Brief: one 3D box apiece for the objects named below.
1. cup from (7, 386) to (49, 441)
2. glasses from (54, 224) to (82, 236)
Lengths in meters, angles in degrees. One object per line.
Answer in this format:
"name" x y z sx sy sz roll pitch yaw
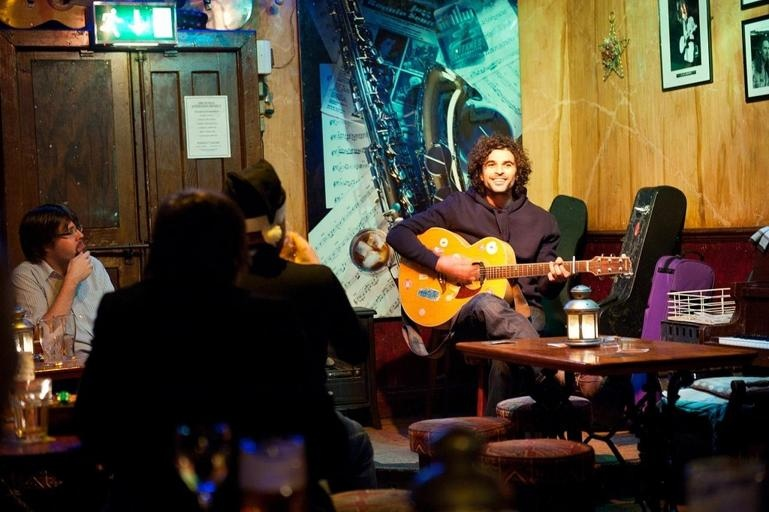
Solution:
"cup" -1.438 0.620 2.778 0.151 0.210 0.192 -3 5 -29
"glasses" -1.902 -0.148 4.097 0.119 0.035 0.119 -3 0 13
